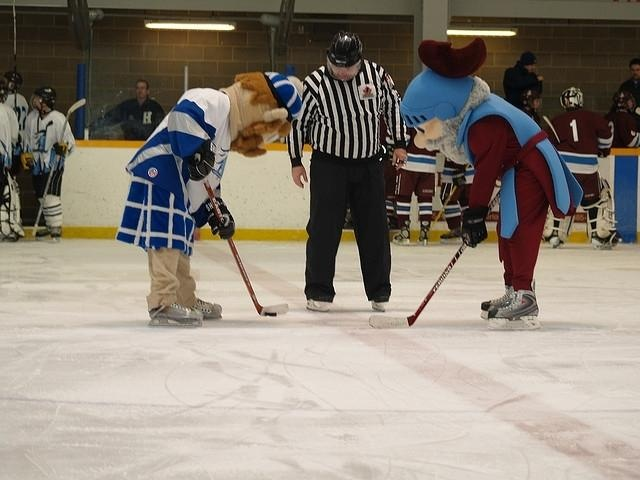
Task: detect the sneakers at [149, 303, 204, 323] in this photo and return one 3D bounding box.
[{"bbox_3d":[-0.685,0.357,3.798,0.258,0.121,0.095,-1,2,-7],"label":"sneakers"}]

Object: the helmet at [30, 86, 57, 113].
[{"bbox_3d":[-2.876,-1.481,8.332,0.271,0.282,0.241,2,7,4],"label":"helmet"}]

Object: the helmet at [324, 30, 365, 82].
[{"bbox_3d":[0.131,-0.972,4.089,0.177,0.233,0.220,7,-26,2],"label":"helmet"}]

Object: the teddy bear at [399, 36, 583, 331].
[{"bbox_3d":[0.774,-0.273,3.737,0.789,1.305,0.281,1,9,4],"label":"teddy bear"}]

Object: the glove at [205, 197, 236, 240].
[{"bbox_3d":[-0.464,-0.096,3.801,0.117,0.216,0.100,-30,-14,4],"label":"glove"}]

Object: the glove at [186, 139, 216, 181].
[{"bbox_3d":[-0.530,-0.358,3.570,0.138,0.185,0.109,-4,10,-25],"label":"glove"}]

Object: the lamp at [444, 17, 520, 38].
[{"bbox_3d":[2.183,-2.949,10.972,1.256,0.256,0.612,-5,11,-27],"label":"lamp"}]

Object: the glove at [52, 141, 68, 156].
[{"bbox_3d":[-2.668,-0.939,8.095,0.108,0.135,0.139,-1,-9,-21],"label":"glove"}]

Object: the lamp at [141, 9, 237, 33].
[{"bbox_3d":[-1.705,-2.807,10.332,1.180,0.161,0.278,-2,10,-11],"label":"lamp"}]

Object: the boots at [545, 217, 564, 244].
[{"bbox_3d":[2.265,-0.088,7.627,0.188,0.258,0.262,2,18,4],"label":"boots"}]

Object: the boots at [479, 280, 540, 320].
[{"bbox_3d":[0.921,0.311,3.837,0.182,0.154,0.229,2,-3,-1],"label":"boots"}]

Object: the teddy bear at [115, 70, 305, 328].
[{"bbox_3d":[-0.631,-0.334,4.350,1.186,1.684,0.849,3,5,-14],"label":"teddy bear"}]

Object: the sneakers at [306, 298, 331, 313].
[{"bbox_3d":[-0.008,0.341,4.221,0.138,0.063,0.150,0,9,-1],"label":"sneakers"}]

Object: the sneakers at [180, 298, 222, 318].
[{"bbox_3d":[-0.577,0.339,3.895,0.159,0.069,0.070,1,5,-6],"label":"sneakers"}]

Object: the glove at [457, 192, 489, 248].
[{"bbox_3d":[0.705,-0.071,3.654,0.147,0.179,0.064,10,4,29],"label":"glove"}]

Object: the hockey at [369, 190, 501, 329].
[{"bbox_3d":[0.782,0.121,5.386,0.107,1.106,0.127,18,-26,52],"label":"hockey"}]
